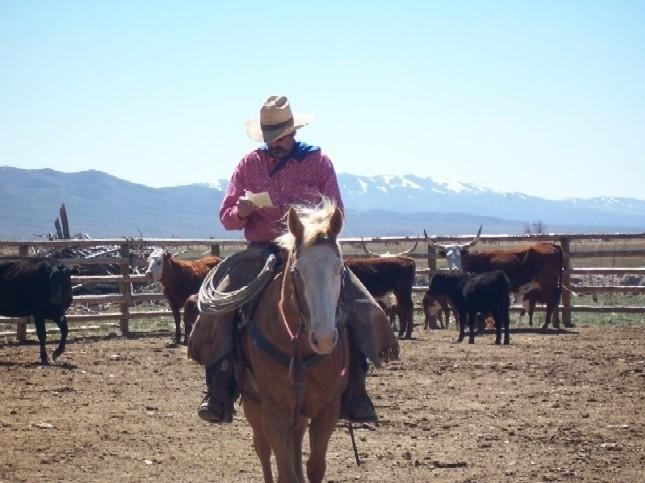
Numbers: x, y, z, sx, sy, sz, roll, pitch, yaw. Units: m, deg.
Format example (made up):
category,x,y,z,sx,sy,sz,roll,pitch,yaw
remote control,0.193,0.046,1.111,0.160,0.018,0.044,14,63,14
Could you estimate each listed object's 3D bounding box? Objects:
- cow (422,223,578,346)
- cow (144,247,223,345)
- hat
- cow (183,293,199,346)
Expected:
category,x,y,z,sx,sy,sz,roll,pitch,yaw
cow,4.730,0.793,23.474,3.733,3.144,1.252,0,-6,26
cow,-2.993,1.070,22.173,0.655,1.872,2.700,7,7,31
hat,-0.588,-1.647,12.872,0.967,0.451,0.801,-3,20,16
cow,-2.749,1.629,20.685,0.264,1.018,1.307,0,0,-8
